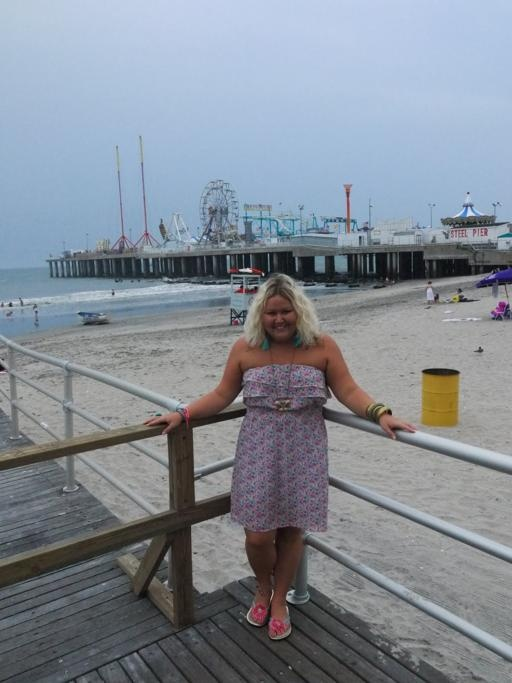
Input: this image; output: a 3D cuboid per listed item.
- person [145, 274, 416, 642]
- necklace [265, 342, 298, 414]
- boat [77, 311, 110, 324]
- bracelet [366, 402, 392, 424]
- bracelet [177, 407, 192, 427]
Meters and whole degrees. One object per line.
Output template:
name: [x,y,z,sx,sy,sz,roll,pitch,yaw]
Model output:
person: [0.097,0.415,2.008,0.797,1.309,0.392,-1,4,17]
necklace: [0.091,0.118,1.956,0.126,0.246,0.093,-2,4,3]
boat: [-8.671,-1.177,30.352,1.259,0.474,1.176,-2,6,28]
bracelet: [0.383,0.224,1.810,0.071,0.032,0.069,-13,0,19]
bracelet: [-0.248,0.264,1.973,0.049,0.060,0.022,-3,-19,-24]
